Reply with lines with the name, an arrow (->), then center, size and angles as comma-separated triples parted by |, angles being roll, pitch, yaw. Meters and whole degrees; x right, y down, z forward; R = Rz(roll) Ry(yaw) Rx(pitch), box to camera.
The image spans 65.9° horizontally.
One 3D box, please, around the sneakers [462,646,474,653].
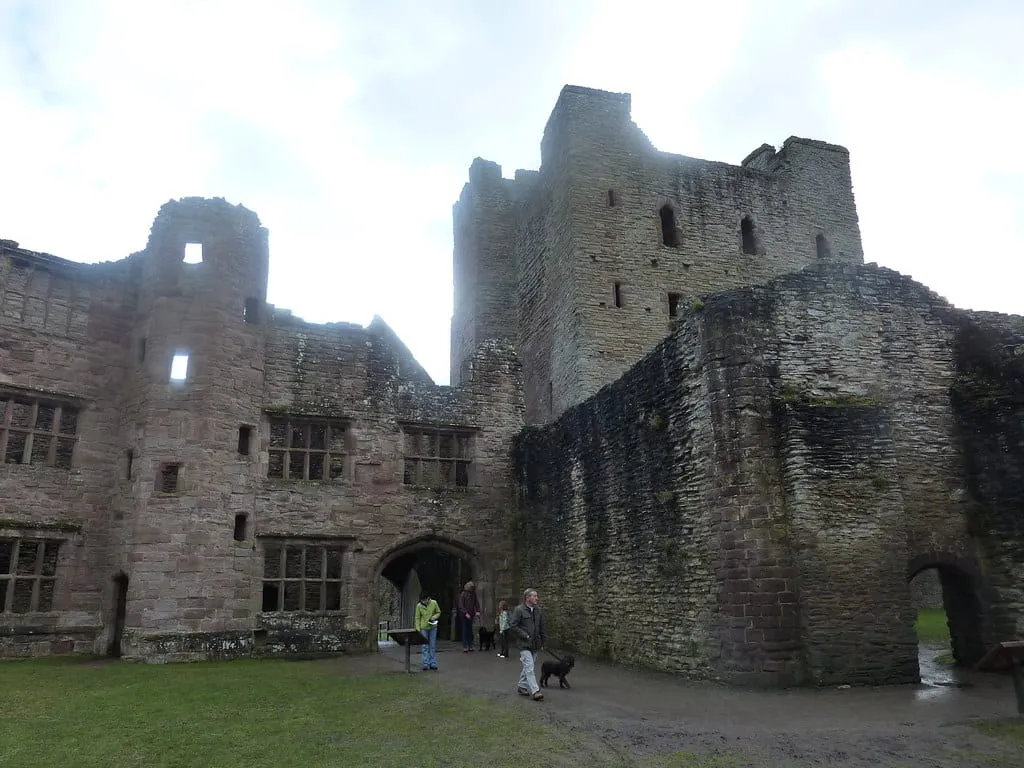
sneakers -> -1.127, 6.829, 20.361 | 0.285, 0.120, 0.388 | 0, -10, -6
